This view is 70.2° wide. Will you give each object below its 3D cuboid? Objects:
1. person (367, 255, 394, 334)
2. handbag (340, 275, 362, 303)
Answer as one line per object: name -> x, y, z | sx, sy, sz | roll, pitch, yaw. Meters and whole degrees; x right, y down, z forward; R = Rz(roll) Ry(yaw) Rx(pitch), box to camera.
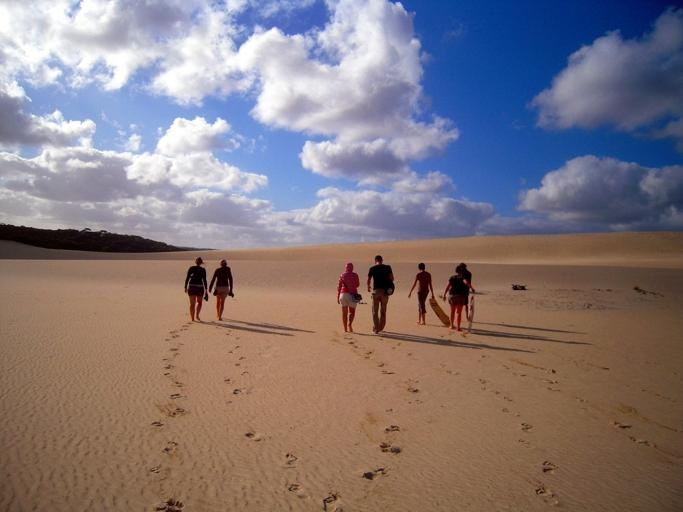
person -> 1.018, 0.916, 12.785 | 0.666, 2.108, 1.572 | 2, 9, 5
handbag -> 0.205, 0.783, 12.459 | 0.521, 0.756, 0.358 | 1, 9, 1
